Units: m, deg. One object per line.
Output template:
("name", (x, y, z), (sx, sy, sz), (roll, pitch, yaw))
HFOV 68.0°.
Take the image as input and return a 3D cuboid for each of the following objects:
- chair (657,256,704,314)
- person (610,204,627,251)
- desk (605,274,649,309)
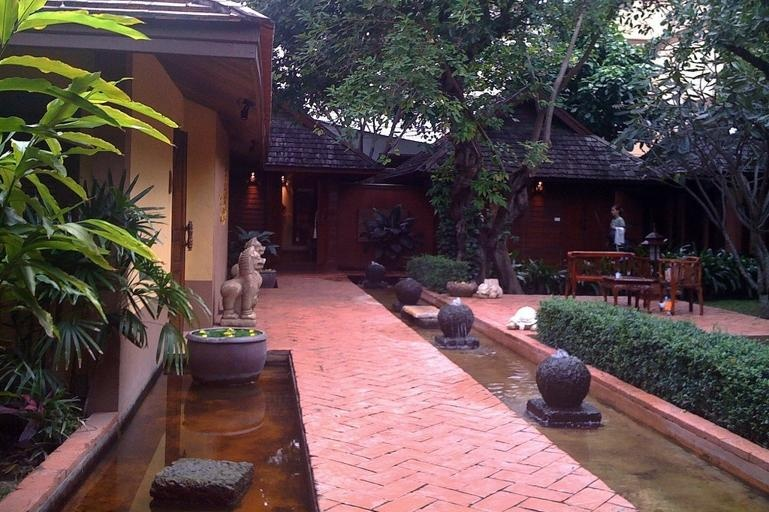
("chair", (5.710, 0.529, 11.008), (0.713, 1.042, 0.754), (0, 2, 19))
("person", (5.678, -0.678, 13.825), (0.367, 1.155, 1.211), (5, 12, 21))
("desk", (4.761, 0.599, 11.111), (0.786, 0.521, 0.966), (-1, 4, -11))
